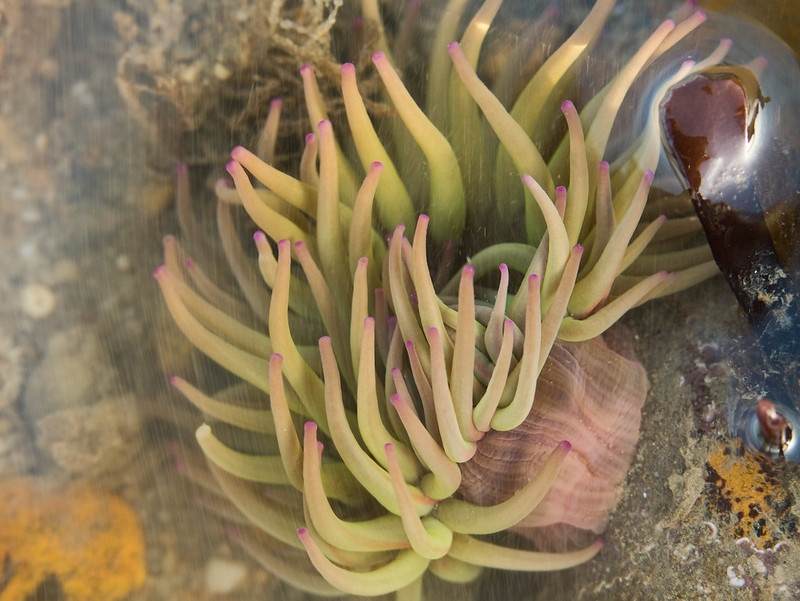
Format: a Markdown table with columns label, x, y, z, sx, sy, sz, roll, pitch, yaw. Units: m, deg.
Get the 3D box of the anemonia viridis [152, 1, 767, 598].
| label | x | y | z | sx | sy | sz | roll | pitch | yaw |
| --- | --- | --- | --- | --- | --- | --- | --- | --- | --- |
| anemonia viridis | 0.131 | 0.095 | 1.949 | 0.529 | 0.916 | 0.871 | 19 | 35 | -51 |
